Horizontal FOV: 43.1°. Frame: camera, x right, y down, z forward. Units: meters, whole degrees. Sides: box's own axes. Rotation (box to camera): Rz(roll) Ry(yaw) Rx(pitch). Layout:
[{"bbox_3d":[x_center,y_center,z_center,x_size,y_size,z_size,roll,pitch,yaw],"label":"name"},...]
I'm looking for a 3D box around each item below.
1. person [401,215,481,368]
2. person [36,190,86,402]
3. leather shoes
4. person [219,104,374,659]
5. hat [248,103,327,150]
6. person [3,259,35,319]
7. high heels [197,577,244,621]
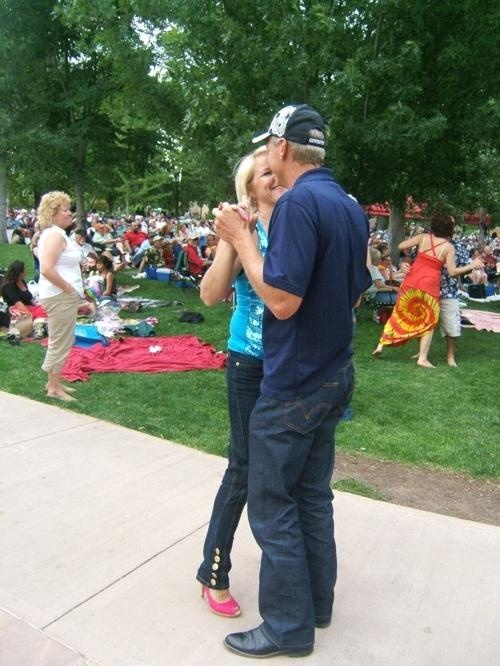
[{"bbox_3d":[2.318,-0.517,7.847,0.948,1.873,0.874,6,10,19],"label":"person"},{"bbox_3d":[-1.724,-0.350,5.779,0.390,1.866,0.781,-1,10,-18],"label":"person"},{"bbox_3d":[0.078,1.104,2.326,0.353,0.131,0.121,4,-3,5],"label":"leather shoes"},{"bbox_3d":[0.157,0.186,2.277,0.468,1.953,0.398,-6,13,-42],"label":"person"},{"bbox_3d":[0.138,-0.735,2.249,0.245,0.172,0.260,2,9,0],"label":"hat"},{"bbox_3d":[-3.228,-0.655,8.916,0.449,0.719,0.554,-6,12,-42],"label":"person"},{"bbox_3d":[-0.122,1.089,2.588,0.078,0.076,0.206,-1,2,-35],"label":"high heels"}]
